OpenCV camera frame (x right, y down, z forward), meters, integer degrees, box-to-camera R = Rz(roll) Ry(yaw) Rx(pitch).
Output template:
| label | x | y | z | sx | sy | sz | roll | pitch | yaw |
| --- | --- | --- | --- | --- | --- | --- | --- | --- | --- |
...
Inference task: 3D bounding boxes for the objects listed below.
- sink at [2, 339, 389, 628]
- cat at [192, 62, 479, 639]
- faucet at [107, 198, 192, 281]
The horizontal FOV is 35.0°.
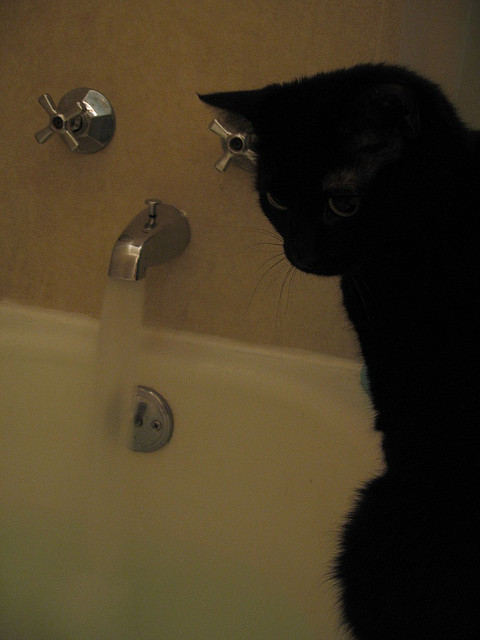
| label | x | y | z | sx | sy | sz | roll | pitch | yaw |
| --- | --- | --- | --- | --- | --- | --- | --- | --- | --- |
| sink | -0.070 | 0.247 | 1.150 | 0.646 | 0.180 | 0.379 | 2 | 76 | 14 |
| cat | 0.139 | 0.052 | 0.881 | 0.303 | 0.596 | 0.399 | -6 | 36 | 14 |
| faucet | -0.119 | -0.119 | 1.008 | 0.078 | 0.080 | 0.162 | 15 | 30 | 13 |
